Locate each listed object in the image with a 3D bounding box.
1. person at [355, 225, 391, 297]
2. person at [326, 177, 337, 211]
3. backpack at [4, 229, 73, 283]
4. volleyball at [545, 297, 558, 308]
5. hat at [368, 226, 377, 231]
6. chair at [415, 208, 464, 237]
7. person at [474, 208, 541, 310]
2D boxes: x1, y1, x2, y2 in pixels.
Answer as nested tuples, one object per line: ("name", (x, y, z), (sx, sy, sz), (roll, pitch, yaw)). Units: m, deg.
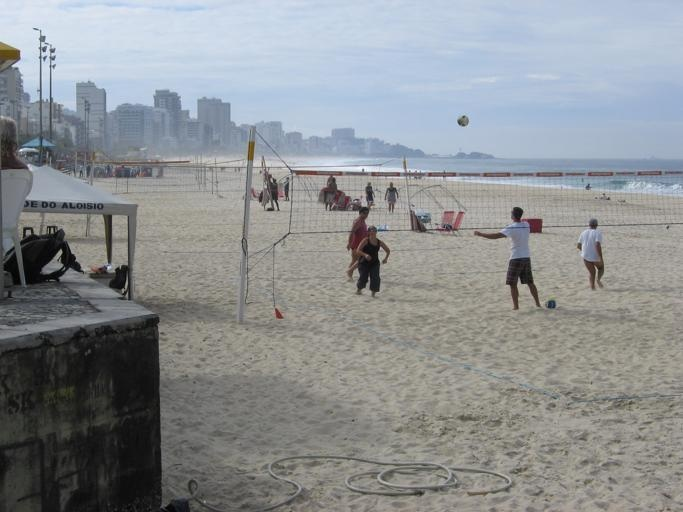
("person", (0.404, 0.092, 11.614), (0.607, 1.040, 0.529), (5, 4, 34))
("person", (-0.316, -1.870, 23.777), (0.351, 1.015, 0.799), (-3, 15, -1))
("backpack", (-2.900, -0.014, 7.495), (0.569, 0.566, 0.450), (-16, 18, -41))
("volleyball", (2.860, 0.645, 10.625), (0.139, 0.118, 0.134), (-5, 8, -33))
("hat", (0.458, -0.403, 11.516), (0.089, 0.089, 0.112), (2, 2, -13))
("chair", (2.398, -0.823, 19.044), (1.175, 0.538, 0.740), (2, 3, 32))
("person", (2.360, 0.044, 10.618), (0.742, 1.420, 1.087), (4, 16, 20))
